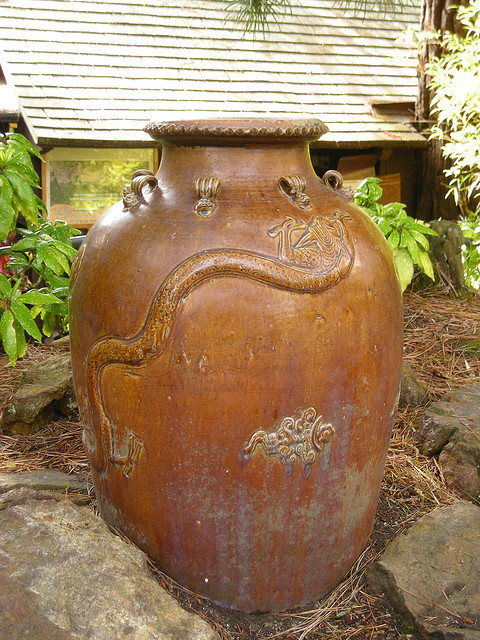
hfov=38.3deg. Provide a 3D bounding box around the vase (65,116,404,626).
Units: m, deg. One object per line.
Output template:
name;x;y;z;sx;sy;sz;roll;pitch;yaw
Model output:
vase;-0.025;0.150;1.720;0.822;1.243;0.485;3;23;9
